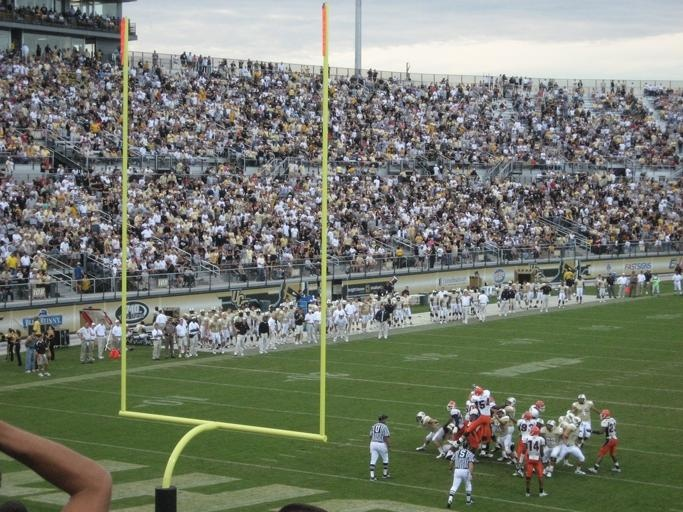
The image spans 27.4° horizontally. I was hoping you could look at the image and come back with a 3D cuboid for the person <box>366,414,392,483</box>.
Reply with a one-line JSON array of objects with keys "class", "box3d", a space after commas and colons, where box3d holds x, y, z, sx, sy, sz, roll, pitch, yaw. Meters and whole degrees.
[{"class": "person", "box3d": [1.027, 4.996, 36.700, 0.573, 1.487, 0.716, 1, 8, -45]}]
